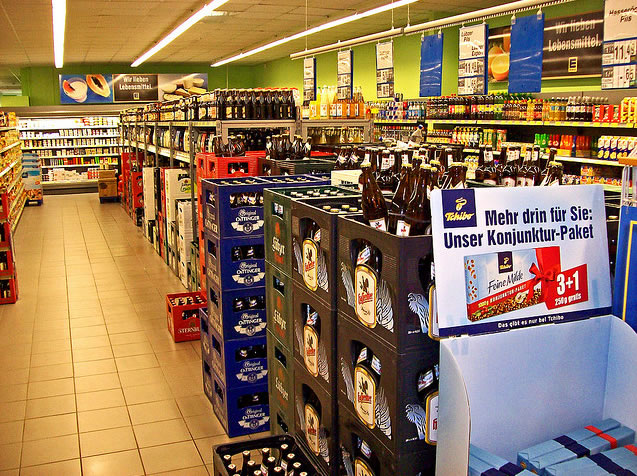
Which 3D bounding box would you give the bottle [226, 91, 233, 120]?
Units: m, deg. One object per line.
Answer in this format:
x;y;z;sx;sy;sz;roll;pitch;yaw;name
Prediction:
-1.042;-1.546;5.523;0.088;0.306;0.193;-3;12;-11;bottle

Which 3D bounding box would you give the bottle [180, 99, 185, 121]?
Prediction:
-2.019;-1.902;7.018;0.089;0.306;0.594;-4;14;-15;bottle

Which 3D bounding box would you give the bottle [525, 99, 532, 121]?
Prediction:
3.472;-2.093;7.776;0.115;0.308;0.051;4;12;24;bottle

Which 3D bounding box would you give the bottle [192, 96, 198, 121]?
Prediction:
-1.665;-1.746;6.387;0.090;0.307;0.314;-3;13;-14;bottle

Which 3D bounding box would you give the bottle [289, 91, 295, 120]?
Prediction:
-0.303;-1.581;5.607;0.081;0.319;0.207;-1;12;-2;bottle

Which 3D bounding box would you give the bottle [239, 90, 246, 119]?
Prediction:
-0.886;-1.550;5.526;0.082;0.300;0.186;-3;12;-9;bottle

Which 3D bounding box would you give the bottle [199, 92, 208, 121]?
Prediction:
-1.468;-1.666;6.036;0.102;0.319;0.491;-4;14;-18;bottle

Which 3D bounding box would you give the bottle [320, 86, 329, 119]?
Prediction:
0.080;-1.798;6.301;0.124;0.386;0.330;-1;12;0;bottle

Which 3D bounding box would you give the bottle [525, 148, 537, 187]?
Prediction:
1.326;-0.458;2.952;0.081;0.084;0.324;29;-15;32;bottle

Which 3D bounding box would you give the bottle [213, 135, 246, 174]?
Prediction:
-0.927;-0.851;4.855;0.321;0.599;0.354;-6;15;-20;bottle

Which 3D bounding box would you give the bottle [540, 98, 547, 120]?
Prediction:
3.620;-2.045;7.582;0.093;0.309;0.044;7;13;32;bottle

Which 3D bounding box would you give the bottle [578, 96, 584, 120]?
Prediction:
3.929;-1.929;7.050;0.087;0.306;0.092;-1;11;0;bottle

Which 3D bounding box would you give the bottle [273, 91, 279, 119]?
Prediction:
-0.489;-1.568;5.589;0.068;0.303;0.194;-2;12;-5;bottle

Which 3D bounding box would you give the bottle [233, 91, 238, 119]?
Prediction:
-0.961;-1.542;5.512;0.060;0.304;0.144;-2;12;-6;bottle

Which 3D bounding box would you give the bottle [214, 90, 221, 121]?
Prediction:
-1.187;-1.566;5.569;0.092;0.323;0.193;-6;13;-24;bottle

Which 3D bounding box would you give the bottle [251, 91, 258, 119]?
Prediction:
-0.727;-1.563;5.571;0.096;0.302;0.206;-2;12;-6;bottle

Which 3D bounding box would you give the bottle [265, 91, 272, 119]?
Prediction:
-0.582;-1.569;5.582;0.083;0.295;0.147;-2;12;-6;bottle

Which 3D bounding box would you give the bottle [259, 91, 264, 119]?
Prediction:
-0.659;-1.562;5.557;0.060;0.293;0.155;-2;12;-6;bottle

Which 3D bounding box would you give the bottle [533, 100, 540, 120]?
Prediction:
3.564;-2.078;7.700;0.050;0.315;0.150;-7;13;-28;bottle

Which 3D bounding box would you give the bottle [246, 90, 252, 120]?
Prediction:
-0.806;-1.556;5.546;0.085;0.301;0.199;-2;12;-8;bottle

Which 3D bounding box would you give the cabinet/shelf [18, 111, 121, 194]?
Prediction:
-9.079;-3.122;17.504;3.048;2.791;1.088;-6;12;-34;cabinet/shelf

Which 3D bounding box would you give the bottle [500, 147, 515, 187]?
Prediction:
1.193;-0.448;2.976;0.085;0.190;0.443;4;14;21;bottle

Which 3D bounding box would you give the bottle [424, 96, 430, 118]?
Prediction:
2.233;-2.671;9.746;0.102;0.344;0.235;6;8;-2;bottle

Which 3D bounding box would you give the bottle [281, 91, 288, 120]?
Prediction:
-0.398;-1.564;5.589;0.067;0.296;0.174;-1;12;-3;bottle

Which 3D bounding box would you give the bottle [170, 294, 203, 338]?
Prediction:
-1.378;0.829;4.932;0.392;0.425;0.410;-2;7;-26;bottle

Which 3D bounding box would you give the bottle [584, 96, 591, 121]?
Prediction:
4.000;-1.903;7.015;0.097;0.324;0.301;6;14;28;bottle
